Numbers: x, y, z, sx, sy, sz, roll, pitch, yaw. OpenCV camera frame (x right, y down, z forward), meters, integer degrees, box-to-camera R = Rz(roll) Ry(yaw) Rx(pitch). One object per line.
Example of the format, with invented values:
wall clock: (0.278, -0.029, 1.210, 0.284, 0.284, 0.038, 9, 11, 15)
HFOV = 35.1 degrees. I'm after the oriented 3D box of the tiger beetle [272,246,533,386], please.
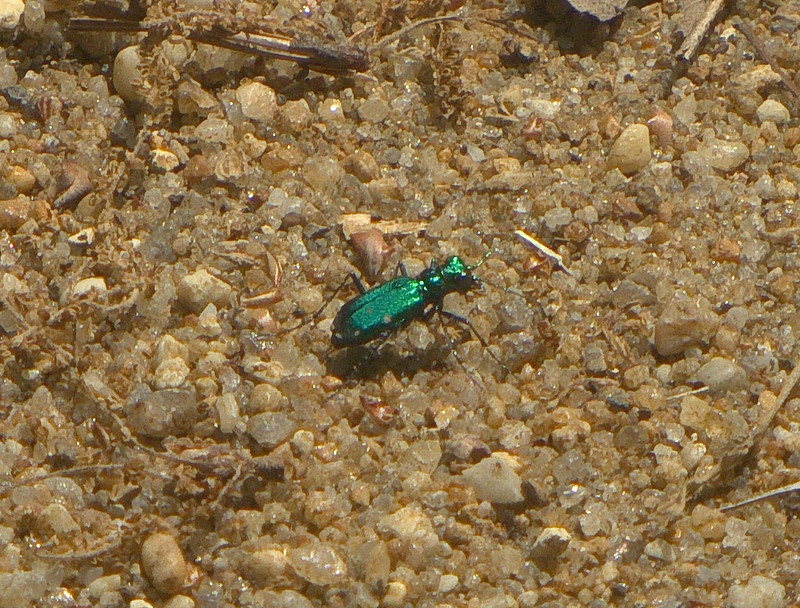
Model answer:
tiger beetle: (0.010, -0.023, 6.710, 0.921, 0.266, 0.732, -22, 61, -14)
